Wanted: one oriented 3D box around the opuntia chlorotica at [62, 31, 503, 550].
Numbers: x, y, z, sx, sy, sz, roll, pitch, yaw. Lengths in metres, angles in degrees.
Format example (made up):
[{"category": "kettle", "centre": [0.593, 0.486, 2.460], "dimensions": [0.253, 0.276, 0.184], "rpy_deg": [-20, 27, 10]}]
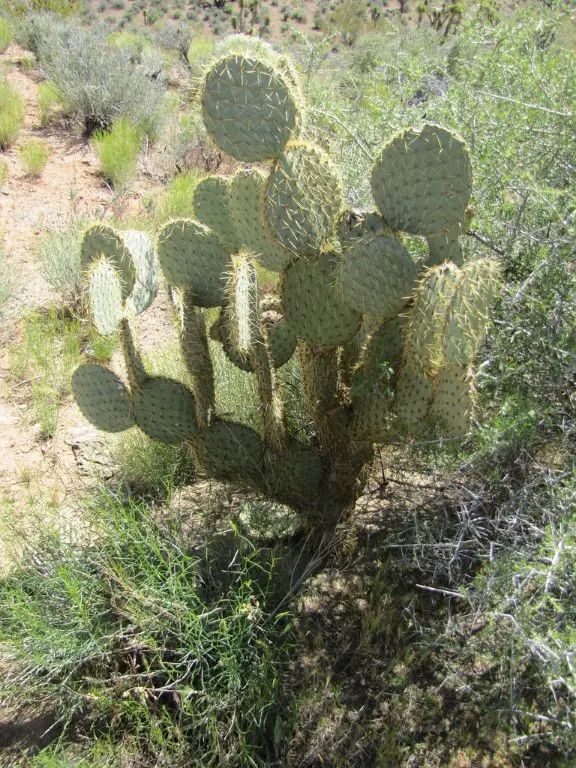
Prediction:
[{"category": "opuntia chlorotica", "centre": [0.031, -0.306, 2.705], "dimensions": [1.467, 1.419, 0.959], "rpy_deg": [20, 47, 14]}]
